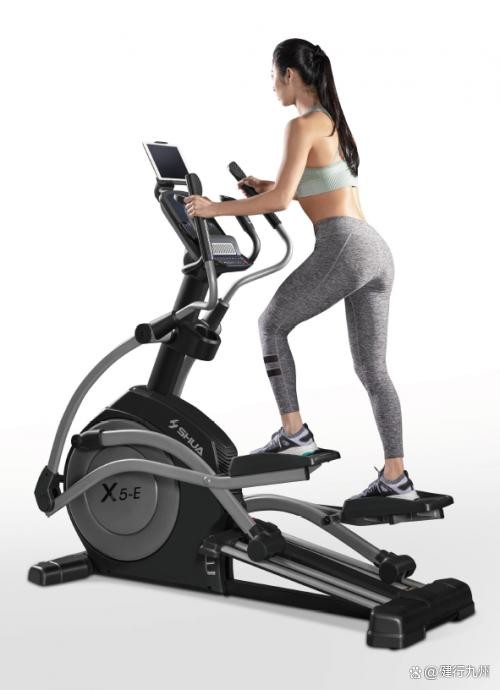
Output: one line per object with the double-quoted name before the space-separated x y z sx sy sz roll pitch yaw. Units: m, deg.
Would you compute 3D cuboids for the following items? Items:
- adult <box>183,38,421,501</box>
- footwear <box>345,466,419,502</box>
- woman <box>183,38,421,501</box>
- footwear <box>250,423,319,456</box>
"adult" 0.162 -0.239 1.956 0.633 1.420 0.309 2 -5 -27
"footwear" 0.424 0.427 1.979 0.258 0.112 0.082 0 2 19
"woman" 0.164 -0.239 1.957 0.628 1.420 0.309 2 -5 -27
"footwear" 0.092 0.298 1.979 0.248 0.101 0.085 -3 -2 17
